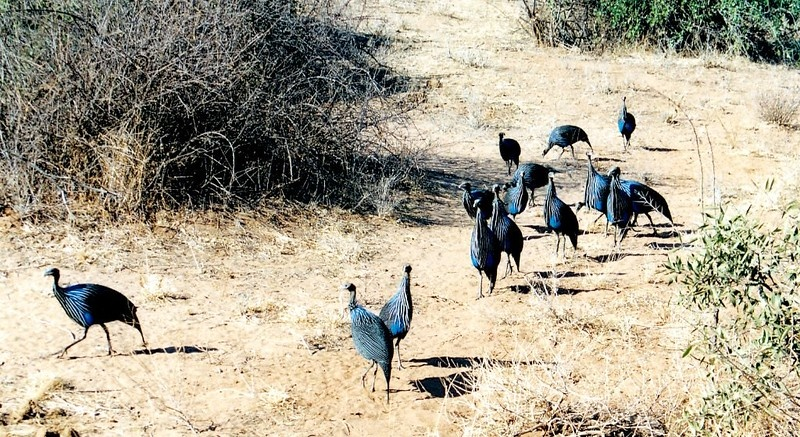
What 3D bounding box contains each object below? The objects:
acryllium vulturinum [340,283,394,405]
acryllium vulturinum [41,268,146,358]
[{"bbox_3d":[-0.502,2.357,16.412,0.570,1.804,1.399,-10,26,-40],"label":"acryllium vulturinum"},{"bbox_3d":[-6.074,1.958,17.228,1.462,1.166,0.485,6,13,-7],"label":"acryllium vulturinum"}]
